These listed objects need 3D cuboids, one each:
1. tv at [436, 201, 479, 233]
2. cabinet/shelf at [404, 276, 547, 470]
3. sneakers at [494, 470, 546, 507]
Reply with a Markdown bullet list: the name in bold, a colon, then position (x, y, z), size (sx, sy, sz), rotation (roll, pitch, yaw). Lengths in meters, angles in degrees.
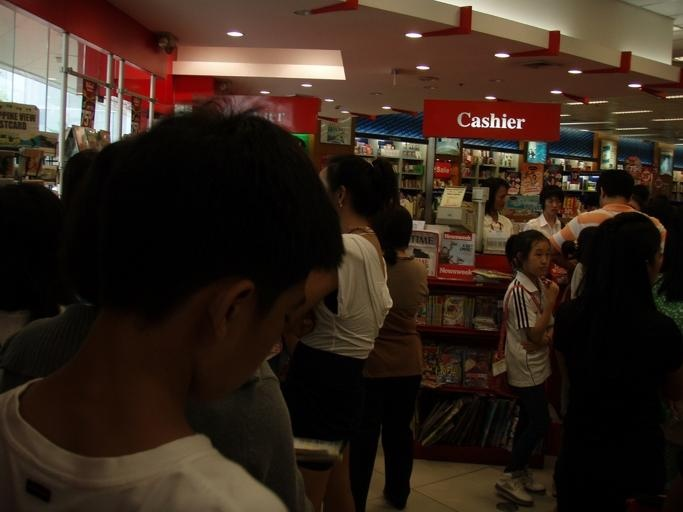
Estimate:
- **tv**: position (1.053, -0.348, 4.811), size (0.275, 0.194, 0.286), rotation (3, 1, 36)
- **cabinet/shelf**: position (0.995, 0.892, 3.911), size (1.262, 1.348, 0.450), rotation (3, -4, -2)
- **sneakers**: position (1.207, 1.552, 3.614), size (0.185, 0.090, 0.255), rotation (4, 0, 19)
